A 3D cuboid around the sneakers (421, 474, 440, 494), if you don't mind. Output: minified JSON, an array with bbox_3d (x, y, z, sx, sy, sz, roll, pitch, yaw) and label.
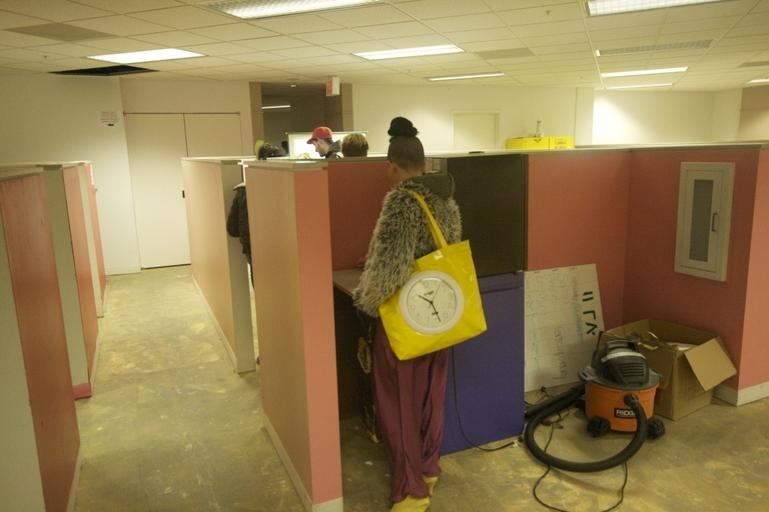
[{"bbox_3d":[0.325,1.585,3.985,0.045,0.122,0.113,8,5,44],"label":"sneakers"}]

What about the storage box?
[{"bbox_3d":[2.383,0.918,4.779,0.834,0.653,0.716,-11,15,-26],"label":"storage box"}]

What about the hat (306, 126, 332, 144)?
[{"bbox_3d":[-0.890,-1.563,7.333,0.430,0.230,0.302,8,17,30],"label":"hat"}]
